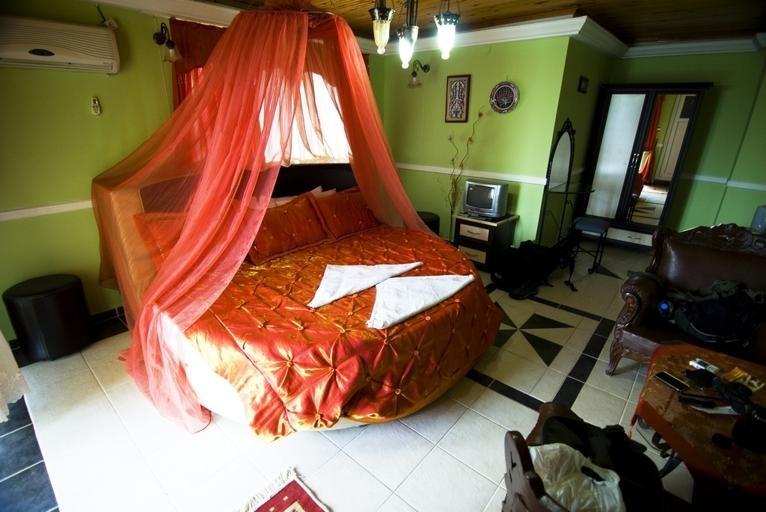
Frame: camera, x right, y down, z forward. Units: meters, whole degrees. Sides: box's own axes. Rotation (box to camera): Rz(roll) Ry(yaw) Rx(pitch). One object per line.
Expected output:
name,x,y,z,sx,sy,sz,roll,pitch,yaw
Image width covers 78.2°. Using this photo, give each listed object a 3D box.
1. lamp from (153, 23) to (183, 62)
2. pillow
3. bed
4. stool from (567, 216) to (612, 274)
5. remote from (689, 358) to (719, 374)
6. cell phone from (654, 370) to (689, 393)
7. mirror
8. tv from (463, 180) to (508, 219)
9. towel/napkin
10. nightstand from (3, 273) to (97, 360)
lamp,-1.997,-1.975,4.358,0.200,0.343,0.289,-15,29,-40
pillow,-1.125,-0.189,4.042,0.308,0.425,1.275,-29,-8,42
bed,-0.435,0.426,4.064,2.080,1.325,2.675,24,28,39
stool,2.604,-0.139,5.949,0.501,0.678,0.391,12,39,31
remote,2.344,0.797,3.439,0.096,0.040,0.125,-17,26,-32
cell phone,2.061,0.896,3.365,0.146,0.028,0.260,-15,13,-8
mirror,2.069,-0.912,5.629,0.204,1.702,0.750,24,48,35
tv,1.175,-0.694,5.571,0.416,0.520,0.592,-17,24,-41
towel/napkin,0.132,0.266,3.841,0.741,0.062,0.695,-17,30,-40
nightstand,-2.920,0.531,4.435,0.682,0.791,0.676,-19,24,-25
